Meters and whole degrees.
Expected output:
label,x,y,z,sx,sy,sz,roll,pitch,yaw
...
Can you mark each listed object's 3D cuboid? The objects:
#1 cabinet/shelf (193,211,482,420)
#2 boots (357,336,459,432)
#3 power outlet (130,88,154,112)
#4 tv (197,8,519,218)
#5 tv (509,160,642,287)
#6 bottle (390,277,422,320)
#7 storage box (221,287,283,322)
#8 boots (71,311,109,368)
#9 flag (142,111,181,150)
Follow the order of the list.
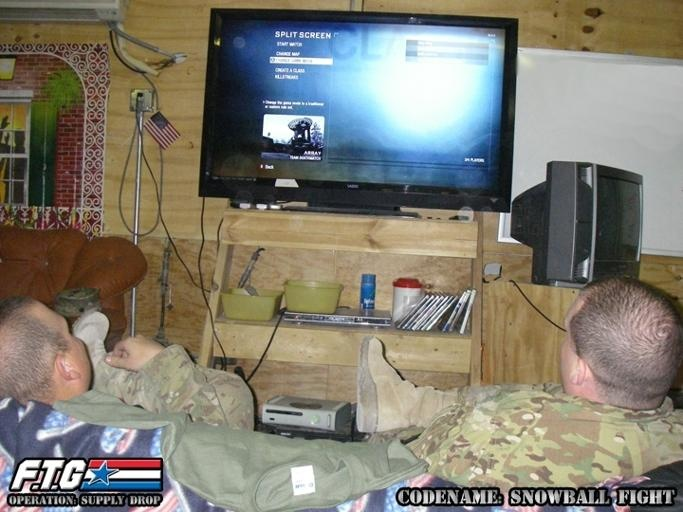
label,x,y,z,sx,sy,sz,roll,pitch,yaw
cabinet/shelf,0.048,0.298,3.222,1.429,1.091,0.524,1,6,16
boots,0.225,0.542,2.441,0.428,0.396,0.174,4,-25,-10
power outlet,-1.207,-0.929,3.650,0.142,0.127,0.038,3,4,6
tv,0.105,-0.771,3.289,1.190,0.740,0.126,3,-1,-2
tv,1.170,-0.153,3.149,0.710,0.562,0.501,0,2,-40
bottle,0.350,0.229,3.261,0.154,0.228,0.151,0,11,0
storage box,-0.480,0.258,3.147,0.238,0.101,0.176,2,-2,4
boots,-0.860,0.296,2.098,0.078,0.121,0.192,27,18,-38
flag,-1.087,-0.767,3.679,0.159,0.189,0.019,-39,5,1
